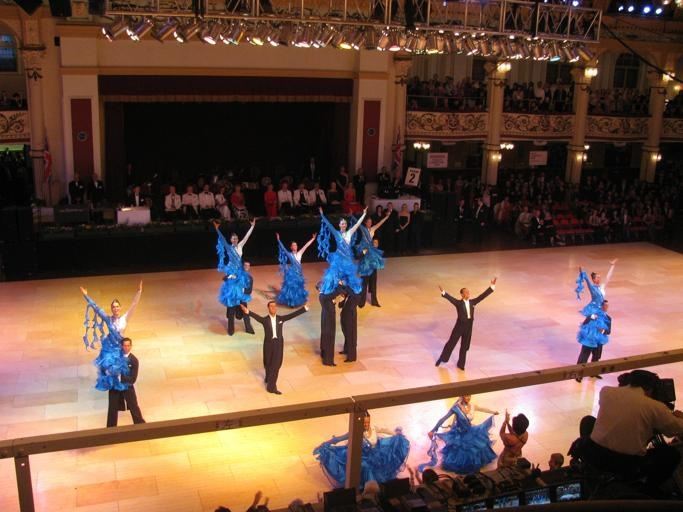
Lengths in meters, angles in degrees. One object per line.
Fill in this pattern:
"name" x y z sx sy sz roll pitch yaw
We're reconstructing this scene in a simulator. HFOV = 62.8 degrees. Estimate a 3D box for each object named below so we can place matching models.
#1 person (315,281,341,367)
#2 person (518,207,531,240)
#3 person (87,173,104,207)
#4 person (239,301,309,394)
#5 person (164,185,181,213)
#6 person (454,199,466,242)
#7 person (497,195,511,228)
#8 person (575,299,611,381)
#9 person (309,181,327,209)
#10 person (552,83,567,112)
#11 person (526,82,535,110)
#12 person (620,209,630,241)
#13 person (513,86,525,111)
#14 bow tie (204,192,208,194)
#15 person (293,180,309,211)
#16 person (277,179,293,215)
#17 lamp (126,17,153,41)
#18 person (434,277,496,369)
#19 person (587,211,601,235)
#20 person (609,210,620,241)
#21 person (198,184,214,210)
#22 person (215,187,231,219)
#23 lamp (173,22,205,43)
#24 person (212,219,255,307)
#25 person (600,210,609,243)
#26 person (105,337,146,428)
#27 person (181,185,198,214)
"person" -0.230 1.326 11.082 0.441 1.608 0.483 -2 12 -3
"person" 6.638 -1.197 20.313 0.439 1.096 0.597 3 13 18
"person" -7.987 -2.127 18.091 0.493 0.997 0.866 -7 13 -25
"person" -1.341 1.855 10.925 1.335 1.770 0.560 -6 20 -18
"person" -5.489 -1.822 18.181 0.500 0.862 0.376 -6 13 -20
"person" 4.155 -1.252 19.652 0.305 1.352 1.243 1 12 11
"person" 6.298 -1.677 21.363 0.420 1.002 0.642 -8 14 -31
"person" 4.858 1.488 10.784 0.566 1.315 0.486 3 13 18
"person" -0.845 -2.162 19.865 0.674 0.830 0.493 -3 12 -10
"person" 9.655 -6.939 24.539 0.759 1.222 1.618 5 14 25
"person" 8.192 -6.831 24.083 0.488 1.189 1.206 3 13 18
"person" 10.545 -1.189 20.766 0.319 1.159 0.715 9 16 39
"person" 7.561 -6.719 23.896 0.429 0.883 0.609 2 13 16
"bow tie" -4.512 -2.084 18.530 0.106 0.090 0.061 -2 17 -10
"person" -1.432 -2.039 19.579 0.503 0.981 0.707 4 13 24
"person" -1.983 -2.077 19.573 0.541 1.168 0.589 -3 12 -7
"lamp" -4.688 -5.234 12.865 0.639 0.495 0.427 4 13 22
"person" 2.421 1.344 11.022 1.003 1.756 1.251 4 13 23
"person" 9.350 -1.221 20.663 0.450 0.867 0.973 4 13 24
"person" 10.198 -1.145 20.795 0.448 1.053 1.289 5 14 27
"person" -4.456 -1.935 18.528 0.559 0.743 0.585 6 14 28
"person" -4.065 -1.808 19.117 0.486 0.951 1.898 -4 13 -11
"lamp" -3.536 -5.143 12.873 0.599 0.413 0.584 -1 12 0
"person" -2.307 0.225 12.095 0.791 1.859 0.450 -4 18 -19
"person" 9.672 -1.085 20.549 0.338 1.061 0.984 5 13 25
"person" -3.271 1.963 8.502 0.586 1.409 0.426 0 23 -27
"person" -4.971 -1.801 18.307 0.554 0.985 0.549 -4 12 -14
